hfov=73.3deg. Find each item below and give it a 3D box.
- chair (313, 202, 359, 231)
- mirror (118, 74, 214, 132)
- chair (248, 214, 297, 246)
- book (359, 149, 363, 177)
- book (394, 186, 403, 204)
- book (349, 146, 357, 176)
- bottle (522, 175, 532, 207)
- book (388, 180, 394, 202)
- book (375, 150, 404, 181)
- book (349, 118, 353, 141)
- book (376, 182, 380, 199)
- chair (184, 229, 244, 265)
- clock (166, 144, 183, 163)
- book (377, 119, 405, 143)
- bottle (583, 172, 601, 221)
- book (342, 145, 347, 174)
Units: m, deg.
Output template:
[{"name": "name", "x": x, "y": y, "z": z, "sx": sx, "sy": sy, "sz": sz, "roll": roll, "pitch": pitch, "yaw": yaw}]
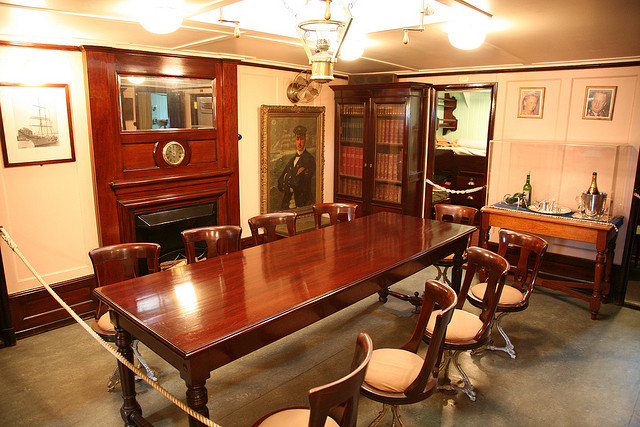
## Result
[{"name": "chair", "x": 0.217, "y": -0.010, "z": 5.850, "sx": 0.451, "sy": 0.560, "sz": 0.415, "roll": -1, "pitch": 8, "yaw": -1}, {"name": "mirror", "x": -2.025, "y": -1.417, "z": 5.773, "sx": 0.063, "sy": 0.902, "sz": 1.579, "roll": 17, "pitch": 22, "yaw": 29}, {"name": "chair", "x": -0.605, "y": 0.198, "z": 5.339, "sx": 0.365, "sy": 0.488, "sz": 0.359, "roll": -13, "pitch": 22, "yaw": -33}, {"name": "book", "x": 0.736, "y": -0.880, "z": 7.605, "sx": 0.076, "sy": 0.481, "sz": 0.087, "roll": 8, "pitch": 20, "yaw": 31}, {"name": "book", "x": 1.334, "y": -0.311, "z": 7.338, "sx": 0.209, "sy": 0.268, "sz": 0.281, "roll": 0, "pitch": 8, "yaw": 3}, {"name": "book", "x": 0.589, "y": -0.927, "z": 7.712, "sx": 0.132, "sy": 0.505, "sz": 0.081, "roll": 11, "pitch": 22, "yaw": 39}, {"name": "bottle", "x": 3.037, "y": -0.332, "z": 6.252, "sx": 0.111, "sy": 0.424, "sz": 0.295, "roll": 5, "pitch": 18, "yaw": 25}, {"name": "book", "x": 1.230, "y": -0.390, "z": 7.387, "sx": 0.106, "sy": 0.357, "sz": 0.059, "roll": 2, "pitch": 17, "yaw": 17}, {"name": "book", "x": 1.233, "y": -0.812, "z": 7.529, "sx": 0.391, "sy": 0.463, "sz": 0.516, "roll": -12, "pitch": 18, "yaw": -41}, {"name": "book", "x": 0.557, "y": -1.496, "z": 7.628, "sx": 0.067, "sy": 0.262, "sz": 0.272, "roll": 4, "pitch": 3, "yaw": 5}, {"name": "book", "x": 1.020, "y": -0.393, "z": 7.528, "sx": 0.059, "sy": 0.284, "sz": 0.052, "roll": 3, "pitch": 18, "yaw": 20}, {"name": "chair", "x": -1.184, "y": 0.372, "z": 4.756, "sx": 0.409, "sy": 0.579, "sz": 0.409, "roll": -7, "pitch": 13, "yaw": -29}, {"name": "clock", "x": -1.959, "y": -0.799, "z": 5.769, "sx": 0.046, "sy": 0.240, "sz": 0.230, "roll": 10, "pitch": 20, "yaw": 38}, {"name": "book", "x": 1.183, "y": -1.351, "z": 7.295, "sx": 0.379, "sy": 0.483, "sz": 0.515, "roll": -6, "pitch": 10, "yaw": -41}, {"name": "bottle", "x": 3.628, "y": -0.221, "z": 5.685, "sx": 0.238, "sy": 0.611, "sz": 0.237, "roll": 1, "pitch": 4, "yaw": 0}, {"name": "book", "x": 0.455, "y": -0.955, "z": 7.805, "sx": 0.094, "sy": 0.482, "sz": 0.066, "roll": 5, "pitch": 18, "yaw": 25}]
